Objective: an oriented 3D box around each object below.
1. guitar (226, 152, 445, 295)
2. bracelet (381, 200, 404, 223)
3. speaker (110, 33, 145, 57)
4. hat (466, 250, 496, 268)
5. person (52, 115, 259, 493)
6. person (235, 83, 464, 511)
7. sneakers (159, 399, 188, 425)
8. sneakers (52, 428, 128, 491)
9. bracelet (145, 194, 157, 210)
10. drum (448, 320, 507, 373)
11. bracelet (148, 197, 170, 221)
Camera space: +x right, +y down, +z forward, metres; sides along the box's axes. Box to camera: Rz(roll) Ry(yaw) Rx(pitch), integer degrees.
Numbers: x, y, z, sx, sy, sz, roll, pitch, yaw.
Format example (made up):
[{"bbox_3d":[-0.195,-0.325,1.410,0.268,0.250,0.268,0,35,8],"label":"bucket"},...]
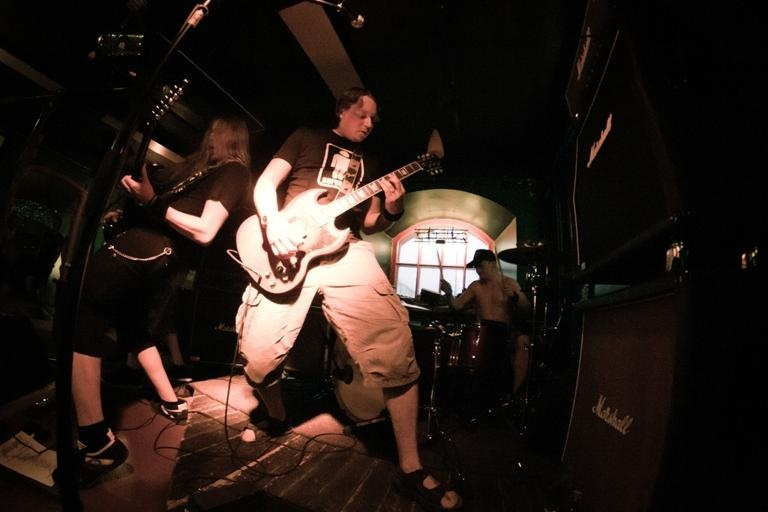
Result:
[{"bbox_3d":[-0.213,-0.217,2.498,1.079,0.380,0.160,-32,0,-16],"label":"guitar"},{"bbox_3d":[0.050,-0.230,2.538,0.104,0.104,0.101,10,-5,-38],"label":"bracelet"},{"bbox_3d":[-1.140,-0.947,2.150,0.130,0.115,0.094,5,11,-5],"label":"speaker"},{"bbox_3d":[0.791,0.022,3.897,0.195,0.105,0.128,-5,0,-1],"label":"hat"},{"bbox_3d":[-1.056,0.081,2.269,0.383,1.536,0.890,11,12,25],"label":"person"},{"bbox_3d":[-0.130,0.092,2.379,1.085,1.838,0.686,10,12,19],"label":"person"},{"bbox_3d":[-1.002,0.746,2.323,0.063,0.075,0.143,-8,-31,28],"label":"sneakers"},{"bbox_3d":[-1.199,0.853,2.017,0.141,0.191,0.275,-26,-22,31],"label":"sneakers"},{"bbox_3d":[-1.033,-0.234,2.134,0.064,0.048,0.063,7,-10,-28],"label":"bracelet"},{"bbox_3d":[0.617,0.576,3.187,0.355,0.267,0.339,0,-3,0],"label":"drum"},{"bbox_3d":[-1.003,-0.214,2.137,0.100,0.095,0.100,9,-5,-19],"label":"bracelet"}]
